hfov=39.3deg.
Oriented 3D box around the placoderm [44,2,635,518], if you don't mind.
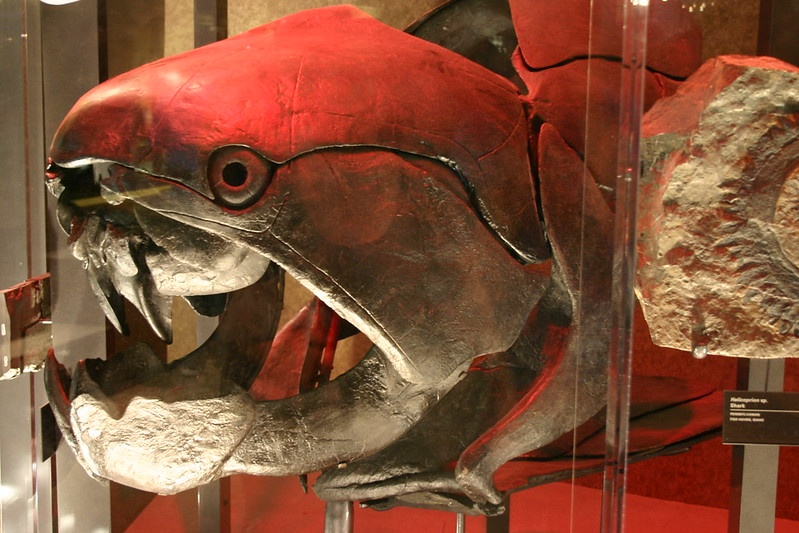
[{"bbox_3d":[-0.052,-0.036,1.707,0.804,0.709,0.625,-7,2,-29],"label":"placoderm"}]
